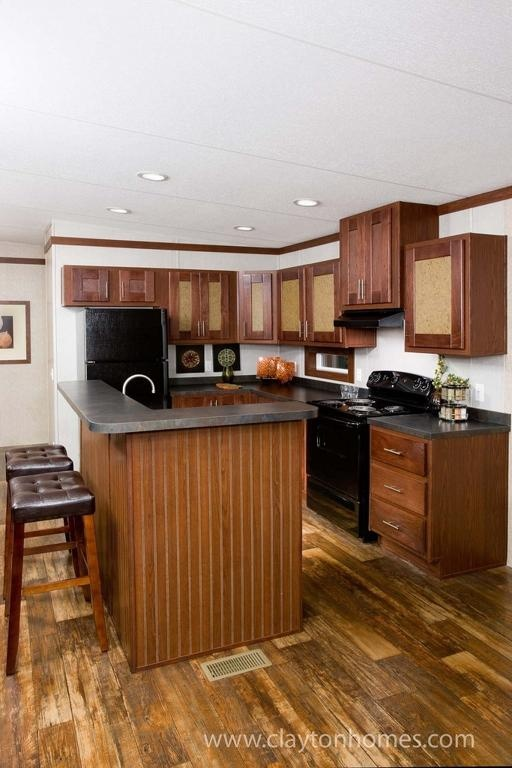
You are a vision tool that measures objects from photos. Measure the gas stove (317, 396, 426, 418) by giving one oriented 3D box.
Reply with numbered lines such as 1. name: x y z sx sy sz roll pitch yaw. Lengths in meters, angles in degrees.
1. gas stove: 0.735 0.163 3.841 0.514 0.065 0.866 -1 3 -21

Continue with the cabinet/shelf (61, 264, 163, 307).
1. cabinet/shelf: -1.159 -0.827 4.742 0.893 0.344 0.091 -2 4 -30

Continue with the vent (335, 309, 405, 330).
1. vent: 0.754 -0.446 3.760 0.210 0.130 0.647 -1 3 -17

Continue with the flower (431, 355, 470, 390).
1. flower: 1.168 -0.051 3.426 0.243 0.240 0.171 0 1 -39

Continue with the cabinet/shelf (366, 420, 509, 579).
1. cabinet/shelf: 1.028 0.608 3.520 0.763 1.130 0.768 1 0 -17

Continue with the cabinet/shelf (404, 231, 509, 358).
1. cabinet/shelf: 1.091 -0.485 3.116 0.567 0.645 0.344 1 3 25

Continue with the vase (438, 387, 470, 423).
1. vase: 1.139 0.118 3.243 0.186 0.214 0.188 0 -2 32
